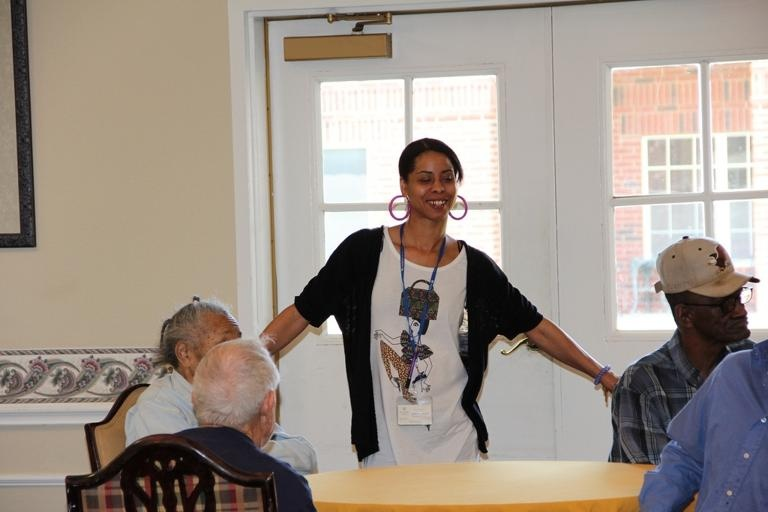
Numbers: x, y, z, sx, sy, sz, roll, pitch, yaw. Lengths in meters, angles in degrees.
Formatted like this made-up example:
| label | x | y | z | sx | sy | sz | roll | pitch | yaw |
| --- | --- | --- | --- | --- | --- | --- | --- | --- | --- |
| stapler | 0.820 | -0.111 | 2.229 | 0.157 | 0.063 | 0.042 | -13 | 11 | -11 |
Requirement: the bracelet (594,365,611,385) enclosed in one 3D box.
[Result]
| label | x | y | z | sx | sy | sz | roll | pitch | yaw |
| --- | --- | --- | --- | --- | --- | --- | --- | --- | --- |
| bracelet | 0.890 | 0.482 | 4.609 | 0.021 | 0.074 | 0.052 | 27 | -14 | 11 |

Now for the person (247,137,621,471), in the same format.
| label | x | y | z | sx | sy | sz | roll | pitch | yaw |
| --- | --- | --- | --- | --- | --- | --- | --- | --- | --- |
| person | 0.279 | 0.191 | 4.777 | 1.328 | 1.675 | 0.377 | 1 | -8 | -8 |

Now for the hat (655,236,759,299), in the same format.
| label | x | y | z | sx | sy | sz | roll | pitch | yaw |
| --- | --- | --- | --- | --- | --- | --- | --- | --- | --- |
| hat | 1.229 | 0.041 | 4.357 | 0.249 | 0.232 | 0.397 | -10 | 2 | -44 |
